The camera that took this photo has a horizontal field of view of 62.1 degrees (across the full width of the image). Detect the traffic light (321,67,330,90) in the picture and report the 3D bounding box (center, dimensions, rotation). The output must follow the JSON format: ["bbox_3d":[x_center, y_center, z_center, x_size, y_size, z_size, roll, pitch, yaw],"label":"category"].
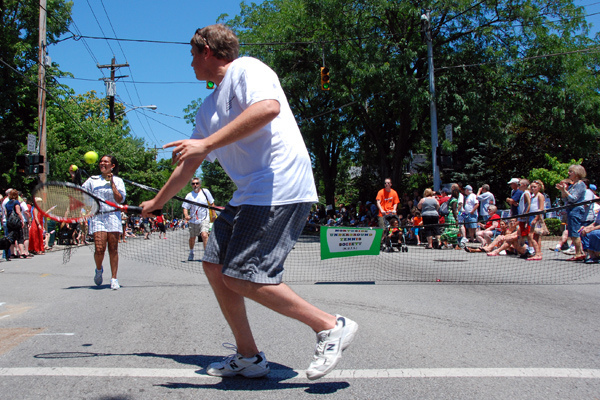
[{"bbox_3d":[0.929,-4.735,19.356,0.248,0.854,0.377,0,3,13],"label":"traffic light"}]

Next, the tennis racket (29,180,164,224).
[{"bbox_3d":[-2.513,-0.025,6.099,1.678,0.685,0.135,8,22,17],"label":"tennis racket"}]

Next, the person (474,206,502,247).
[{"bbox_3d":[5.269,0.803,14.337,0.717,1.337,0.577,0,-2,-39],"label":"person"}]
